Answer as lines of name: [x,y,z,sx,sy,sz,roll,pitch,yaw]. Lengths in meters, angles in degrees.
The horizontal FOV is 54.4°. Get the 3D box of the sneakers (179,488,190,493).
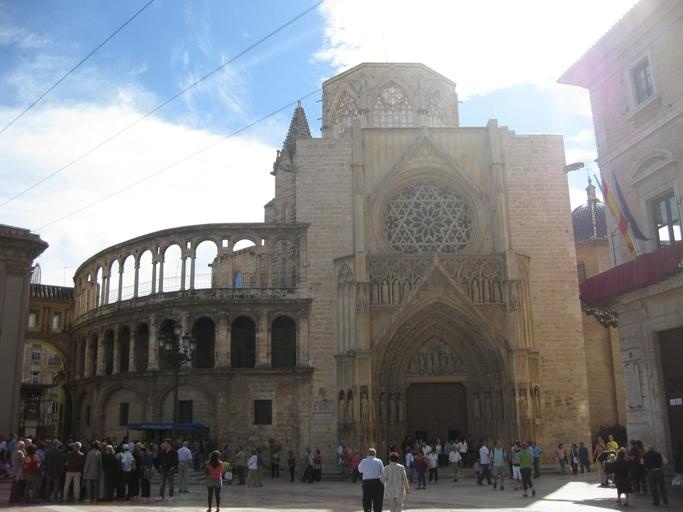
sneakers: [-6.468,9.722,27.399,0.407,0.184,0.141,0,-5,-1]

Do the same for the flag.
flag: [11.566,-1.702,27.298,0.555,3.759,1.475,7,-20,-25]
